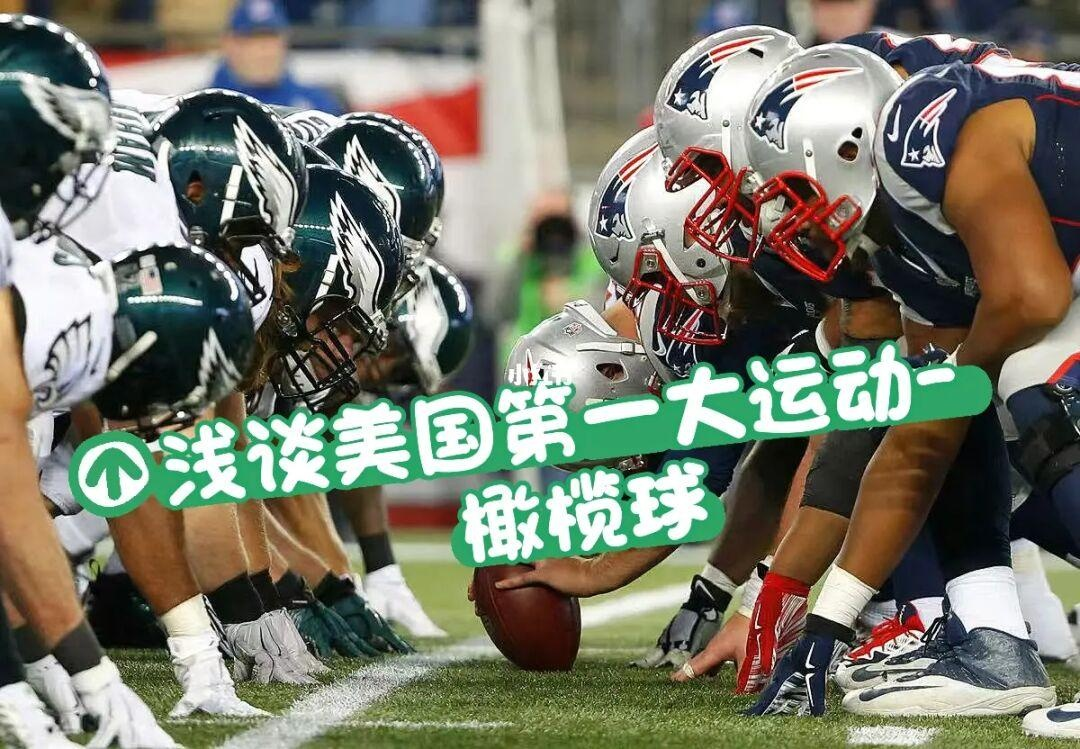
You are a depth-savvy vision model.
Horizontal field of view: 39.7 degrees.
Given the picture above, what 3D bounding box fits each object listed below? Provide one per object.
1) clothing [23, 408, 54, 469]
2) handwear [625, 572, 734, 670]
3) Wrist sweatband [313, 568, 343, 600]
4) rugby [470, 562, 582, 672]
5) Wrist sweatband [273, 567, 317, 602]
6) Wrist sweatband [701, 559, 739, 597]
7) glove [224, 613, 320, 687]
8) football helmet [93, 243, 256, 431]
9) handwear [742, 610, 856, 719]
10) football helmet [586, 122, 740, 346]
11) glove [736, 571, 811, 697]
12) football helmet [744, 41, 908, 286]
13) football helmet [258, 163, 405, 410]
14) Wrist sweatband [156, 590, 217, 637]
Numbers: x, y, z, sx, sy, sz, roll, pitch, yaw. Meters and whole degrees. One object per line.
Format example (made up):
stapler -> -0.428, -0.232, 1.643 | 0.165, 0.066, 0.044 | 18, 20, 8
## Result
clothing -> -1.191, 0.144, 3.539 | 0.061, 0.049, 0.212 | -37, -16, -24
handwear -> 0.463, 0.827, 4.965 | 0.407, 0.186, 0.125 | -39, 12, -4
Wrist sweatband -> -0.681, 0.685, 4.887 | 0.080, 0.081, 0.025 | -42, -14, -18
rugby -> -0.042, 0.728, 4.343 | 0.250, 0.323, 0.185 | -42, 14, 31
Wrist sweatband -> -0.767, 0.662, 4.673 | 0.085, 0.109, 0.088 | -35, -24, 9
Wrist sweatband -> 0.551, 0.615, 4.562 | 0.083, 0.108, 0.090 | -39, 7, 21
glove -> -0.734, 0.747, 4.070 | 0.183, 0.232, 0.108 | -39, 11, -27
football helmet -> -0.810, -0.075, 3.426 | 0.380, 0.376, 0.305 | -11, -14, 38
handwear -> 0.653, 0.727, 3.643 | 0.246, 0.252, 0.078 | 29, 21, -13
football helmet -> 0.405, -0.389, 4.484 | 0.450, 0.631, 0.458 | -4, 1, 11
glove -> 0.597, 0.691, 3.962 | 0.116, 0.436, 0.129 | -1, 42, -20
football helmet -> 0.688, -0.548, 3.958 | 0.438, 0.577, 0.400 | 23, 15, 5
football helmet -> -0.577, -0.220, 4.464 | 0.493, 0.682, 0.464 | -3, -4, 9
Wrist sweatband -> -0.853, 0.590, 3.611 | 0.106, 0.088, 0.095 | -34, -7, 38
